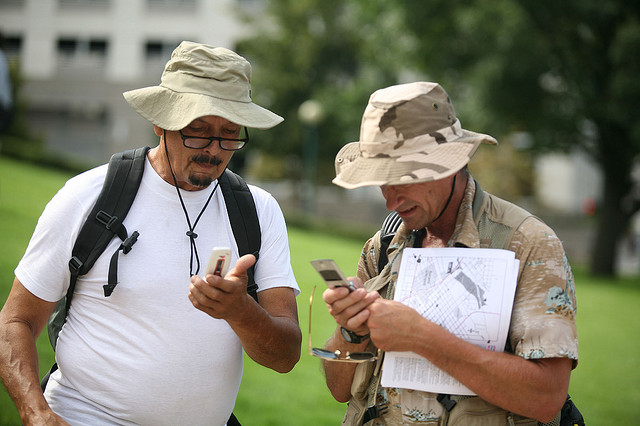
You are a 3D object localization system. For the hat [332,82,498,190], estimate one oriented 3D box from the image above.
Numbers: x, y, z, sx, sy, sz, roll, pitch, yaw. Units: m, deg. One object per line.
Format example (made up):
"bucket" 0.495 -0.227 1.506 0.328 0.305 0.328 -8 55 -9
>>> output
"hat" 0.897 -0.790 8.896 1.093 0.645 1.275 -9 22 33
